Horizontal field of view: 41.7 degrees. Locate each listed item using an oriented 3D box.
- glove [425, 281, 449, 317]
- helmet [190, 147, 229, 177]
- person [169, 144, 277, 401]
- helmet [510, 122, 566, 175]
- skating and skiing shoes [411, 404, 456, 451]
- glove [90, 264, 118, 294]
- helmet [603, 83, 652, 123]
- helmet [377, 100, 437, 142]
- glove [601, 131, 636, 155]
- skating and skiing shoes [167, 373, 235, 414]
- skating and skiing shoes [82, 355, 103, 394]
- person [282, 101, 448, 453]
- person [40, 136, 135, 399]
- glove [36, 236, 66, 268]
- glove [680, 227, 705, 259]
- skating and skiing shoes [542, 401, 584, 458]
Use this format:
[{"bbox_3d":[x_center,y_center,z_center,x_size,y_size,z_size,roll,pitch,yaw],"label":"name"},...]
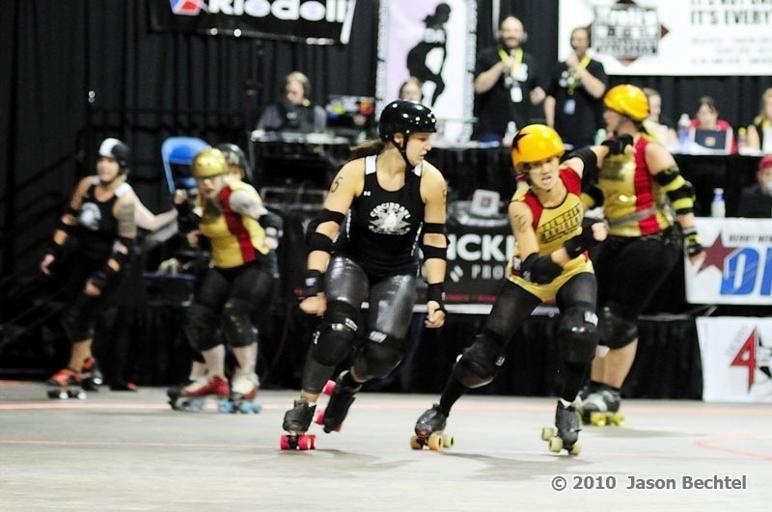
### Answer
[{"bbox_3d":[0.356,0.318,7.129,0.140,0.245,0.098,4,-11,-34],"label":"glove"},{"bbox_3d":[-1.471,-0.764,8.520,0.254,0.193,0.251,0,1,-15],"label":"helmet"},{"bbox_3d":[-1.336,0.185,8.687,0.722,2.152,0.465,3,4,8],"label":"person"},{"bbox_3d":[1.071,-0.730,7.077,0.367,0.383,0.426,-16,6,3],"label":"helmet"},{"bbox_3d":[0.331,1.228,7.165,0.231,0.289,0.400,0,-6,18],"label":"skating and skiing shoes"},{"bbox_3d":[-2.579,0.228,9.232,0.168,0.277,0.229,5,5,30],"label":"glove"},{"bbox_3d":[1.999,-1.280,8.319,0.450,0.219,0.320,28,36,31],"label":"helmet"},{"bbox_3d":[0.142,-0.921,6.901,0.309,0.253,0.276,6,18,5],"label":"helmet"},{"bbox_3d":[1.845,-0.873,7.992,0.156,0.125,0.528,-31,-6,13],"label":"glove"},{"bbox_3d":[-1.577,1.191,8.777,0.598,0.242,0.219,-5,-11,10],"label":"skating and skiing shoes"},{"bbox_3d":[-2.778,1.097,9.497,0.144,0.314,0.142,6,-5,-22],"label":"skating and skiing shoes"},{"bbox_3d":[-0.120,0.136,7.021,1.094,2.404,0.498,2,4,0],"label":"person"},{"bbox_3d":[-2.783,0.103,9.474,0.709,2.339,1.050,-1,5,-35],"label":"person"},{"bbox_3d":[-3.153,-0.004,9.559,0.105,0.265,0.266,20,-3,-3],"label":"glove"},{"bbox_3d":[2.513,-0.112,8.302,0.148,0.242,0.209,3,4,6],"label":"glove"},{"bbox_3d":[1.221,1.186,7.006,0.256,0.363,0.286,3,5,9],"label":"skating and skiing shoes"}]
